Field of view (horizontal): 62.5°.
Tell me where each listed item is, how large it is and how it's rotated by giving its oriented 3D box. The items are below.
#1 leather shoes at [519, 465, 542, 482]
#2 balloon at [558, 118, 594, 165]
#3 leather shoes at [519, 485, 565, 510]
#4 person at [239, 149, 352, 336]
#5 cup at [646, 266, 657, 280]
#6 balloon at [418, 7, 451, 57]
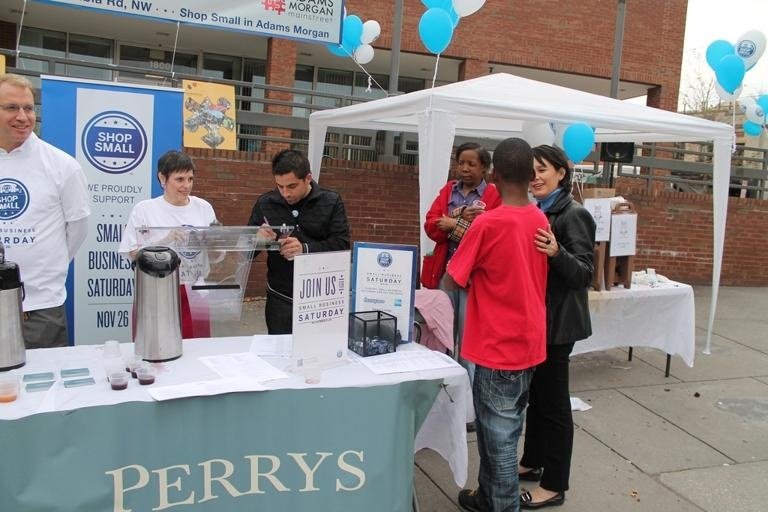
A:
[{"bbox_3d":[1.192,1.788,5.204,0.257,0.103,0.089,3,0,-2],"label":"leather shoes"},{"bbox_3d":[2.055,-1.155,6.710,0.345,0.537,0.346,5,2,-36],"label":"balloon"},{"bbox_3d":[1.211,1.878,4.911,0.350,0.145,0.154,3,-1,-7],"label":"leather shoes"},{"bbox_3d":[-0.685,-0.086,5.199,0.833,1.553,0.936,-2,8,-20],"label":"person"},{"bbox_3d":[3.522,0.221,8.338,0.122,0.203,0.125,-13,18,4],"label":"cup"},{"bbox_3d":[0.560,-2.424,6.908,0.469,0.628,0.503,1,16,4],"label":"balloon"}]
